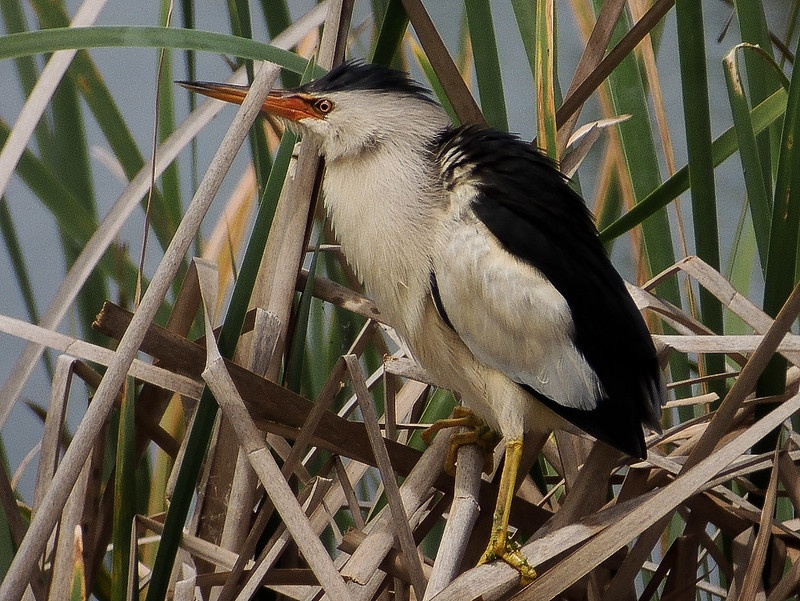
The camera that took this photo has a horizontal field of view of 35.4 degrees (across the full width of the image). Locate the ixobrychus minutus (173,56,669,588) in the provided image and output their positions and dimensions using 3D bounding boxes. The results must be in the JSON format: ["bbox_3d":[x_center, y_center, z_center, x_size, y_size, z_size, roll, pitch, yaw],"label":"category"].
[{"bbox_3d":[0.102,0.009,1.966,0.579,0.760,0.408,-1,8,-9],"label":"ixobrychus minutus"}]
